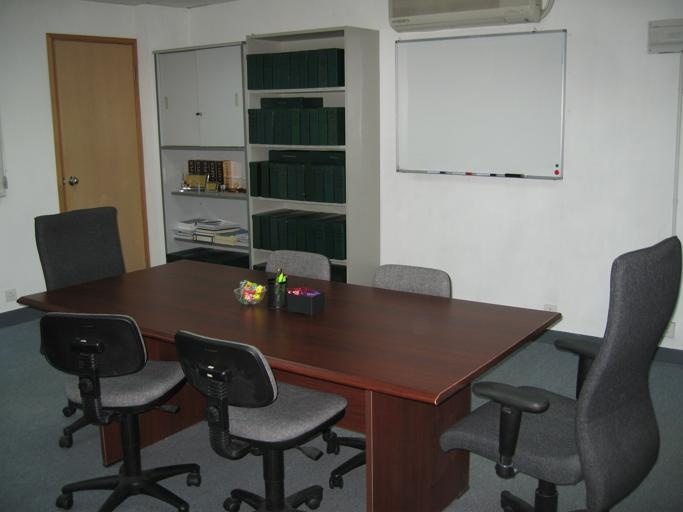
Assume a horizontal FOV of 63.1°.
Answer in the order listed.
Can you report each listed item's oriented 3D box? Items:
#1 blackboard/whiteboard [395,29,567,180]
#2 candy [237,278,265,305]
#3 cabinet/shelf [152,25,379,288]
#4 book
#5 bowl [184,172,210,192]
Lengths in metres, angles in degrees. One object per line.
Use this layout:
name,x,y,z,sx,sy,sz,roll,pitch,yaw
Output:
blackboard/whiteboard,1.292,-1.382,4.953,1.305,1.064,0.052,4,9,28
candy,-0.561,0.226,3.424,0.138,0.109,0.152,7,10,33
cabinet/shelf,-0.711,-1.084,5.579,2.602,2.825,0.708,3,8,31
book,-1.534,-0.638,6.457,0.917,0.926,0.304,4,9,32
bowl,-1.693,-0.860,6.484,0.335,0.246,0.187,4,6,29
